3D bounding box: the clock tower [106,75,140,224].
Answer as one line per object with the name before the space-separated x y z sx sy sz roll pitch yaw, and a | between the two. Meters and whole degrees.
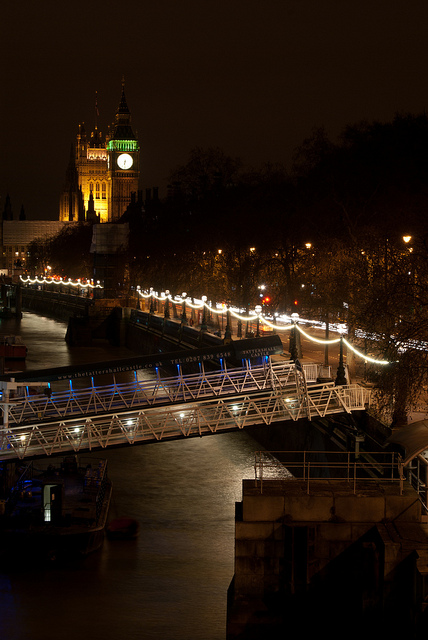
clock tower | -28.450 -51.747 308.721 10.804 55.879 11.504 -1 -7 1
